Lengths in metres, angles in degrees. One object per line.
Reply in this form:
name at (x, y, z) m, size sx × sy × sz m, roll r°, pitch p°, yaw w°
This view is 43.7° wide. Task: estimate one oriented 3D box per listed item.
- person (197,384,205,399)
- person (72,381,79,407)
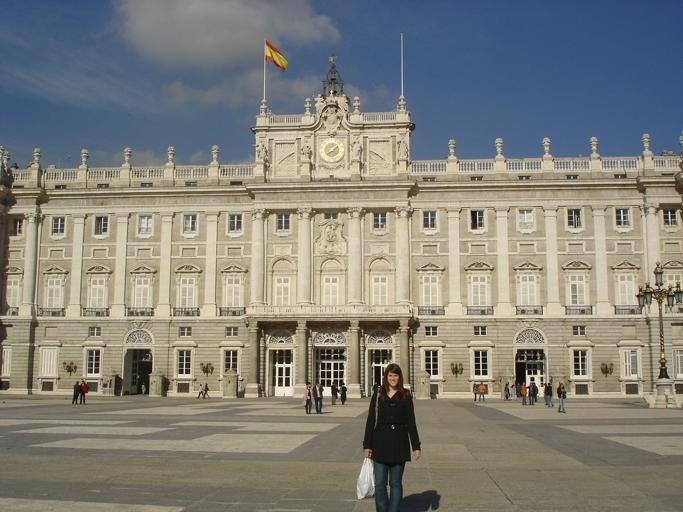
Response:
person at (-11.256, 10.774, 67.975) m, size 0.574 × 1.030 × 1.905 m, roll 1°, pitch -10°, yaw -10°
person at (-18.418, 9.508, 58.847) m, size 0.451 × 1.432 × 2.587 m, roll 3°, pitch -11°, yaw -17°
